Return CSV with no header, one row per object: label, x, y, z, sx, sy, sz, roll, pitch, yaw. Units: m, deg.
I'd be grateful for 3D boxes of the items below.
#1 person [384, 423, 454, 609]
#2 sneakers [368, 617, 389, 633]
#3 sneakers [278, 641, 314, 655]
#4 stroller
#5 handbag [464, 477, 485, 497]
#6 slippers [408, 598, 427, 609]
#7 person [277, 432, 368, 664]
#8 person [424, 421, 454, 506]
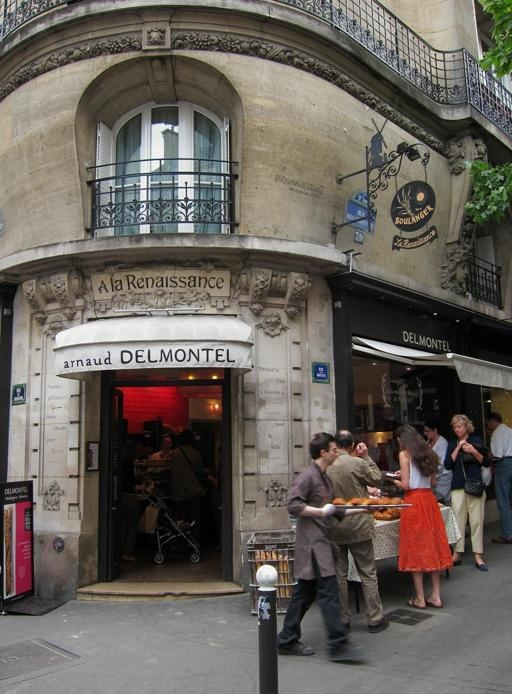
person,1.709,1.719,7.165,0.534,1.852,0.765,-3,-7,11
sneakers,1.144,2.544,6.470,0.083,0.100,0.221,2,3,39
sneakers,0.330,2.484,5.846,0.314,0.144,0.113,-1,-6,3
stroller,-1.386,2.767,10.790,1.137,1.496,0.822,-1,-13,-7
handbag,2.856,1.807,9.097,0.237,0.206,0.086,1,-17,7
slippers,1.658,2.623,7.160,0.085,0.124,0.185,2,2,-33
person,0.501,1.617,5.721,0.653,1.815,0.726,-1,-7,-9
person,2.320,1.493,8.828,0.369,0.424,1.111,-13,30,21
